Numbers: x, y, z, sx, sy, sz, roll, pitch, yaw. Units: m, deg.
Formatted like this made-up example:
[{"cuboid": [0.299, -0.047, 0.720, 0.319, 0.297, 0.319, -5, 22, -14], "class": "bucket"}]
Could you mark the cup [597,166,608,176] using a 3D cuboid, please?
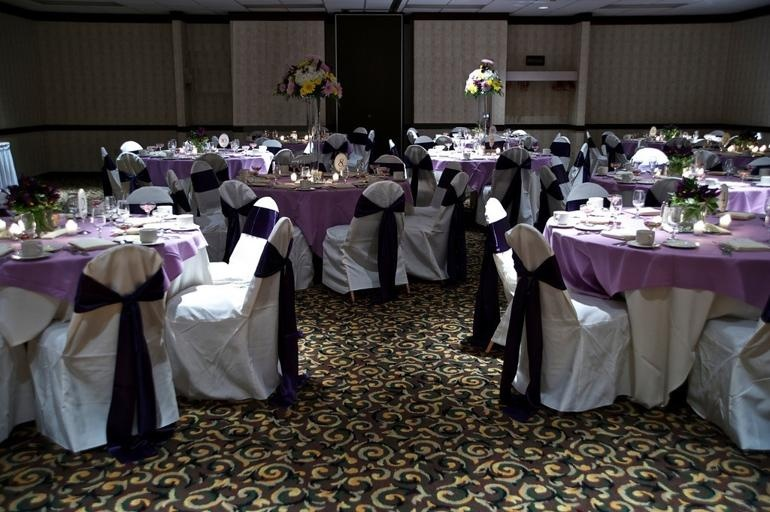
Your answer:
[{"cuboid": [2.945, -1.142, 6.551, 0.172, 0.130, 0.173, 0, 14, 0], "class": "cup"}]

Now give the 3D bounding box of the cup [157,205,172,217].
[{"cuboid": [-1.907, -0.387, 4.195, 0.113, 0.083, 0.112, 1, 13, 0], "class": "cup"}]

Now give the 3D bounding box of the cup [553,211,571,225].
[{"cuboid": [1.478, -0.324, 4.109, 0.134, 0.095, 0.085, -2, 18, -3], "class": "cup"}]

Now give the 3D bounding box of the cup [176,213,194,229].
[{"cuboid": [-1.662, -0.282, 3.969, 0.150, 0.112, 0.151, 1, 16, 0], "class": "cup"}]

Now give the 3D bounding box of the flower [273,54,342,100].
[{"cuboid": [-0.905, -2.304, 6.198, 0.458, 0.339, 0.476, 16, 30, 30], "class": "flower"}]

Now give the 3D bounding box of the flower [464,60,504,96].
[{"cuboid": [1.709, -3.079, 8.328, 0.673, 0.572, 0.660, 6, 29, 3], "class": "flower"}]

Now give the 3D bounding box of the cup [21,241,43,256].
[{"cuboid": [-2.361, -0.057, 3.277, 0.121, 0.086, 0.091, 4, 7, -8], "class": "cup"}]

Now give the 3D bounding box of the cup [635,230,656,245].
[{"cuboid": [1.857, -0.138, 3.468, 0.095, 0.088, 0.124, -2, 8, 3], "class": "cup"}]
